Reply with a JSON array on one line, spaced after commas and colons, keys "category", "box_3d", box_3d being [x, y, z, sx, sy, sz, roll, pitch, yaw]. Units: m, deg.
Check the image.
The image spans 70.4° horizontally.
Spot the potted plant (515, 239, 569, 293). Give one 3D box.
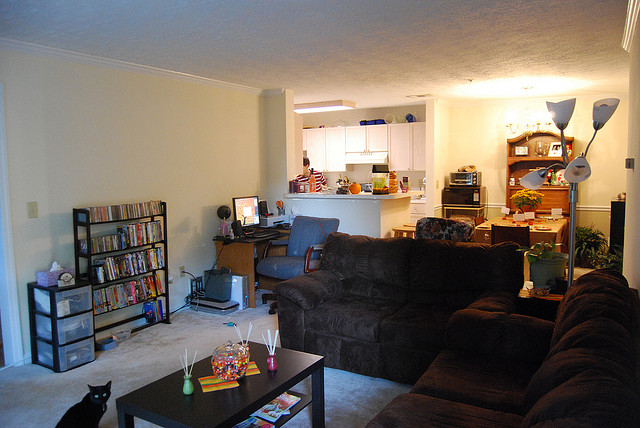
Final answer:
[{"category": "potted plant", "box_3d": [2.199, 0.484, 4.354, 0.403, 0.393, 0.353, -9, 8, -35]}]

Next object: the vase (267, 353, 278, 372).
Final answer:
[{"category": "vase", "box_3d": [-0.387, 1.206, 3.668, 0.089, 0.121, 0.117, -1, 0, -8]}]

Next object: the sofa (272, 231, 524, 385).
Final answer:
[{"category": "sofa", "box_3d": [0.825, 0.942, 4.771, 2.321, 1.179, 1.194, 2, 9, 28]}]

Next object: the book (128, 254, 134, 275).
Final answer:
[{"category": "book", "box_3d": [-2.222, 0.588, 5.325, 0.032, 0.246, 0.044, -3, 7, 12]}]

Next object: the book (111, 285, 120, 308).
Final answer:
[{"category": "book", "box_3d": [-2.365, 0.953, 5.251, 0.053, 0.258, 0.022, -7, 7, -23]}]

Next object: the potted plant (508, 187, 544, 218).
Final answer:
[{"category": "potted plant", "box_3d": [3.486, -0.181, 7.617, 0.527, 0.361, 0.479, -13, 14, -21]}]

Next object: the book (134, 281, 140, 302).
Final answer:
[{"category": "book", "box_3d": [-2.197, 0.925, 5.443, 0.054, 0.212, 0.066, -3, 0, -12]}]

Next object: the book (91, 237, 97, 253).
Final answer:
[{"category": "book", "box_3d": [-2.527, 0.352, 5.056, 0.024, 0.160, 0.040, 1, 9, 40]}]

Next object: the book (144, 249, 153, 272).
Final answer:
[{"category": "book", "box_3d": [-2.061, 0.556, 5.483, 0.049, 0.193, 0.202, -7, 10, -33]}]

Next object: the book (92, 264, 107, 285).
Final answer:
[{"category": "book", "box_3d": [-2.486, 0.669, 5.102, 0.139, 0.209, 0.086, -9, 8, -36]}]

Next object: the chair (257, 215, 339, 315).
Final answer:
[{"category": "chair", "box_3d": [-0.338, 0.628, 6.230, 1.155, 1.079, 1.131, -4, 6, -8]}]

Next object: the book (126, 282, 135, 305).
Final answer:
[{"category": "book", "box_3d": [-2.253, 0.934, 5.377, 0.043, 0.263, 0.048, -3, 7, 12]}]

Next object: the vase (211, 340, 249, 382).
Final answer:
[{"category": "vase", "box_3d": [-0.726, 1.162, 3.668, 0.323, 0.296, 0.308, 2, 8, -4]}]

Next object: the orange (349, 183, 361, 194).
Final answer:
[{"category": "orange", "box_3d": [0.529, -0.393, 6.924, 0.158, 0.156, 0.218, -4, 6, 2]}]

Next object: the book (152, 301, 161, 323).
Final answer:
[{"category": "book", "box_3d": [-2.038, 1.220, 5.692, 0.047, 0.184, 0.194, -6, 8, -29]}]

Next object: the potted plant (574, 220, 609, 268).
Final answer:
[{"category": "potted plant", "box_3d": [4.691, 0.540, 7.919, 0.452, 0.548, 0.474, -3, 0, 43]}]

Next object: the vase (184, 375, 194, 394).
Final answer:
[{"category": "vase", "box_3d": [-1.001, 1.293, 3.458, 0.065, 0.125, 0.094, -5, 7, -6]}]

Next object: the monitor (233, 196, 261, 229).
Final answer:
[{"category": "monitor", "box_3d": [-1.079, -0.019, 6.602, 0.067, 0.420, 0.486, 1, 7, 40]}]
